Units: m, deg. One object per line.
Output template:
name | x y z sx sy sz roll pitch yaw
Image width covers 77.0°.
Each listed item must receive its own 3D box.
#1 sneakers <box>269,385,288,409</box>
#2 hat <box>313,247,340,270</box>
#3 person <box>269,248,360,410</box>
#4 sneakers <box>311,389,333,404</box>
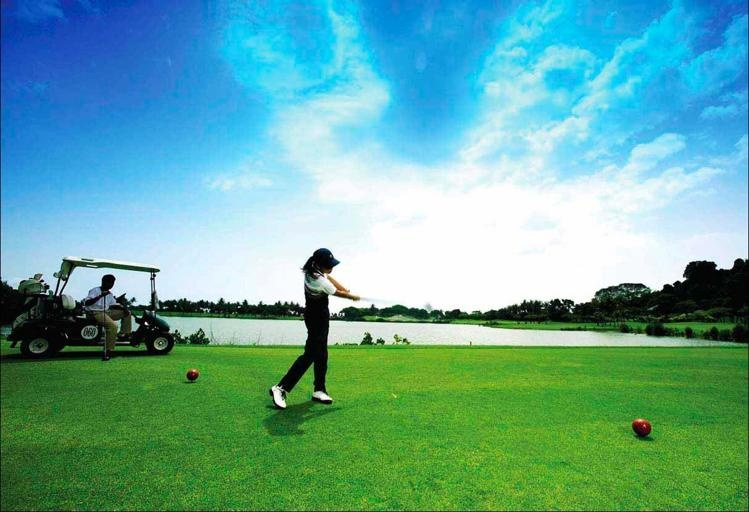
sneakers | -1.759 2.601 8.676 0.260 0.184 0.517 -13 39 -12
hat | -0.916 0.072 8.394 0.472 0.266 0.307 3 17 5
person | -1.164 1.342 9.127 1.150 2.945 1.372 0 -2 24
sneakers | -1.011 2.700 9.038 0.519 0.228 0.203 -1 -3 37
